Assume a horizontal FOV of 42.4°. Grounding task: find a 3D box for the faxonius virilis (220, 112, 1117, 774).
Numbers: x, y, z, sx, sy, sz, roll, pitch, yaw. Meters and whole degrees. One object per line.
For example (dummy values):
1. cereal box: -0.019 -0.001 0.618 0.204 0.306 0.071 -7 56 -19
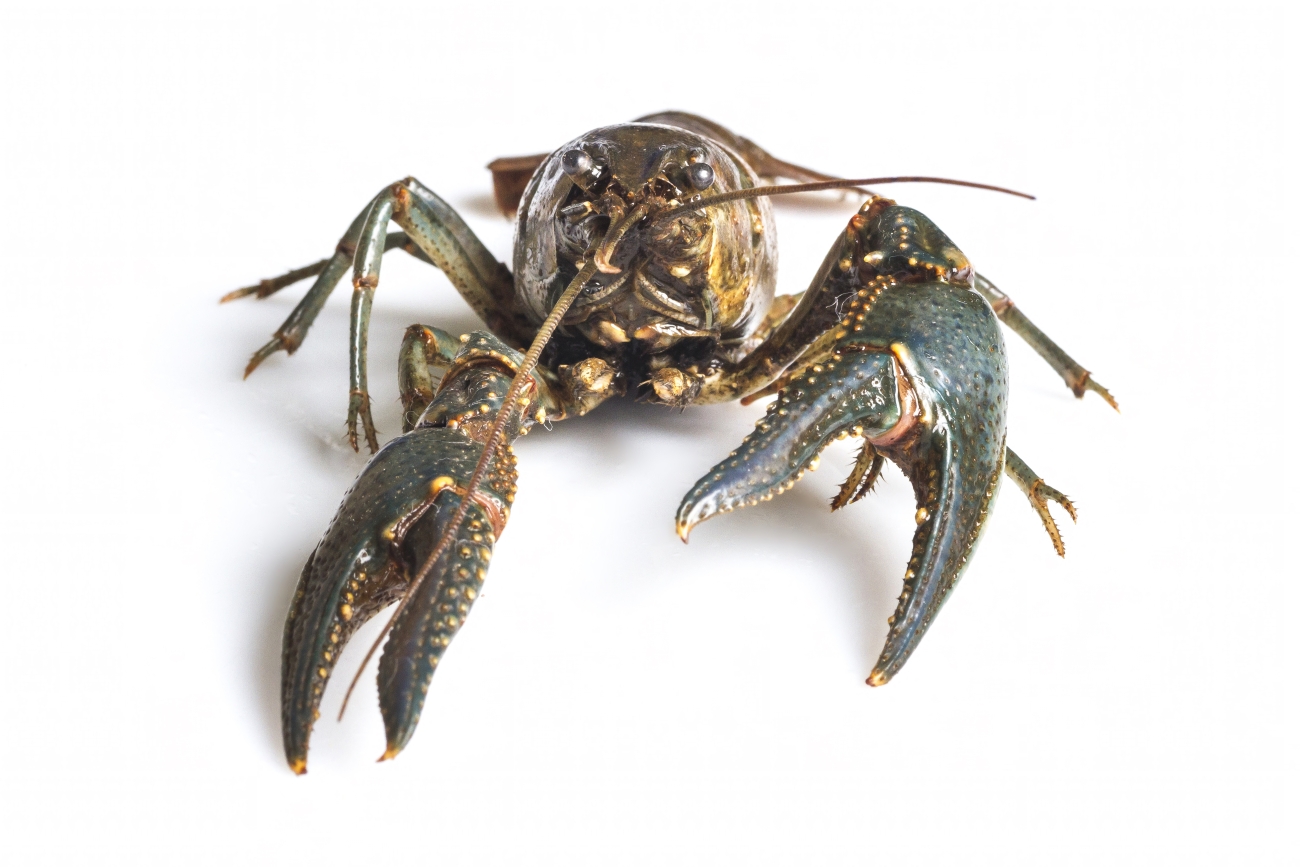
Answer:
1. faxonius virilis: 0.112 0.203 5.860 3.030 2.288 2.160 1 25 2
